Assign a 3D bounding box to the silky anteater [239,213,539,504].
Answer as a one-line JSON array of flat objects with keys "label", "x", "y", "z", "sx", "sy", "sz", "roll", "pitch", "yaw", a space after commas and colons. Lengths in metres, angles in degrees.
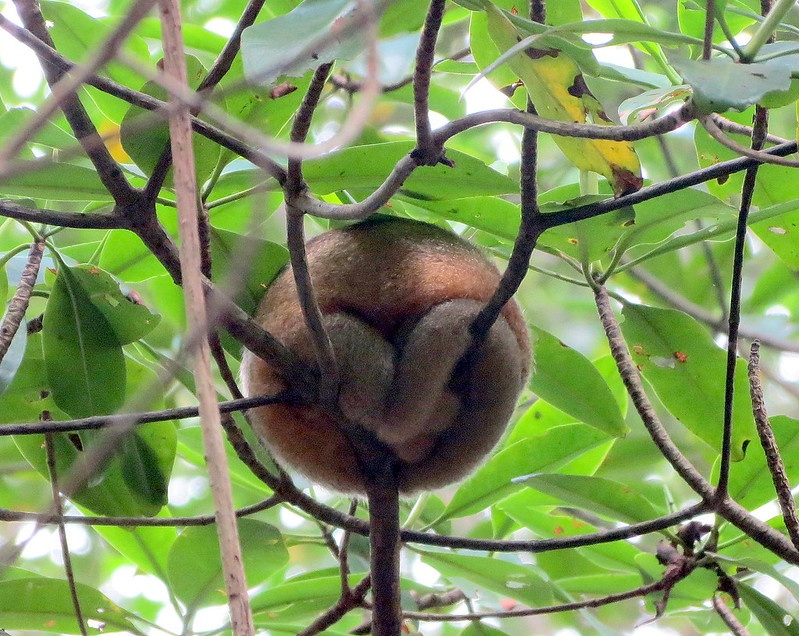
[{"label": "silky anteater", "x": 0.007, "y": 0.001, "z": 1.430, "sx": 0.443, "sy": 0.371, "sz": 0.190, "roll": -3, "pitch": -47, "yaw": 11}]
